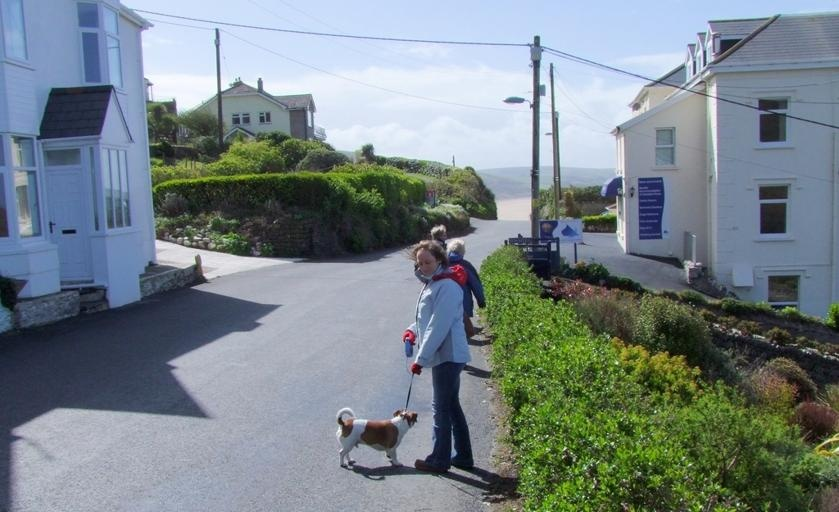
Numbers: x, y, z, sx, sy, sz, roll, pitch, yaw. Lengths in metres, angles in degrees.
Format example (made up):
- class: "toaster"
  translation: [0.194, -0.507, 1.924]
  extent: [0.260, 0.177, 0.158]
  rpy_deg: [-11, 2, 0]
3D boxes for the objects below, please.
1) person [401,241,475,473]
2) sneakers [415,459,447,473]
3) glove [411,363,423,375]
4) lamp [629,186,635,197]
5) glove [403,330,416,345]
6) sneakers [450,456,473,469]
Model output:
- class: "person"
  translation: [0.435, 1.752, 11.088]
  extent: [1.043, 3.870, 1.072]
  rpy_deg: [0, 14, -3]
- class: "sneakers"
  translation: [0.182, 3.681, 11.068]
  extent: [0.462, 0.183, 0.230]
  rpy_deg: [0, 0, 18]
- class: "glove"
  translation: [-0.049, 1.945, 10.847]
  extent: [0.187, 0.210, 0.196]
  rpy_deg: [-6, 11, -21]
- class: "lamp"
  translation: [9.980, -3.008, 29.625]
  extent: [0.307, 0.568, 0.108]
  rpy_deg: [1, 14, 2]
- class: "glove"
  translation: [-0.172, 1.462, 11.526]
  extent: [0.271, 0.294, 0.122]
  rpy_deg: [4, -3, 8]
- class: "sneakers"
  translation: [0.741, 3.632, 11.198]
  extent: [0.353, 0.157, 0.210]
  rpy_deg: [-6, -1, 36]
